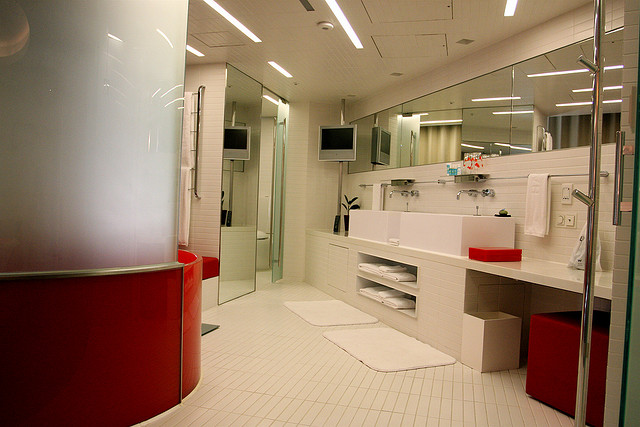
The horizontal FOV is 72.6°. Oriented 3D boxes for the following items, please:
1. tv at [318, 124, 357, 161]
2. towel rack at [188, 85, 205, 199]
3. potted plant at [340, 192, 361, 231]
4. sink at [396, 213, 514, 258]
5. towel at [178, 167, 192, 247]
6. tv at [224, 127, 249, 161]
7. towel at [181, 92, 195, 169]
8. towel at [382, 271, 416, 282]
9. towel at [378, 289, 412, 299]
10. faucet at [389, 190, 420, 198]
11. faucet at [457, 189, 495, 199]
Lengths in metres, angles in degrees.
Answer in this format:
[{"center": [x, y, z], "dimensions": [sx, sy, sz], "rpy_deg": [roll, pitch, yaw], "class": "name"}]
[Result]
[{"center": [0.301, -1.209, 7.410], "dimensions": [0.639, 0.568, 0.063], "rpy_deg": [1, -1, 19], "class": "tv"}, {"center": [-1.703, -1.023, 6.005], "dimensions": [0.109, 1.384, 0.062], "rpy_deg": [3, 5, -38], "class": "towel rack"}, {"center": [0.526, -0.045, 7.751], "dimensions": [0.324, 0.641, 0.572], "rpy_deg": [3, 5, 0], "class": "potted plant"}, {"center": [1.494, 0.222, 4.799], "dimensions": [1.171, 0.434, 0.519], "rpy_deg": [5, 5, 23], "class": "sink"}, {"center": [-1.973, -0.132, 6.180], "dimensions": [0.134, 1.057, 0.574], "rpy_deg": [4, 0, -18], "class": "towel"}, {"center": [-1.189, -0.978, 6.082], "dimensions": [0.504, 0.528, 0.055], "rpy_deg": [-2, 5, -41], "class": "tv"}, {"center": [-1.819, -1.167, 6.012], "dimensions": [0.153, 1.051, 0.231], "rpy_deg": [1, 5, -17], "class": "towel"}, {"center": [0.964, 0.765, 5.308], "dimensions": [0.210, 0.098, 0.442], "rpy_deg": [0, 5, -28], "class": "towel"}, {"center": [0.938, 0.997, 5.384], "dimensions": [0.198, 0.073, 0.204], "rpy_deg": [4, -1, -43], "class": "towel"}, {"center": [1.215, -0.301, 6.473], "dimensions": [0.191, 0.136, 0.642], "rpy_deg": [1, 5, -21], "class": "faucet"}, {"center": [1.870, -0.238, 5.294], "dimensions": [0.125, 0.143, 0.522], "rpy_deg": [0, 5, -29], "class": "faucet"}]
